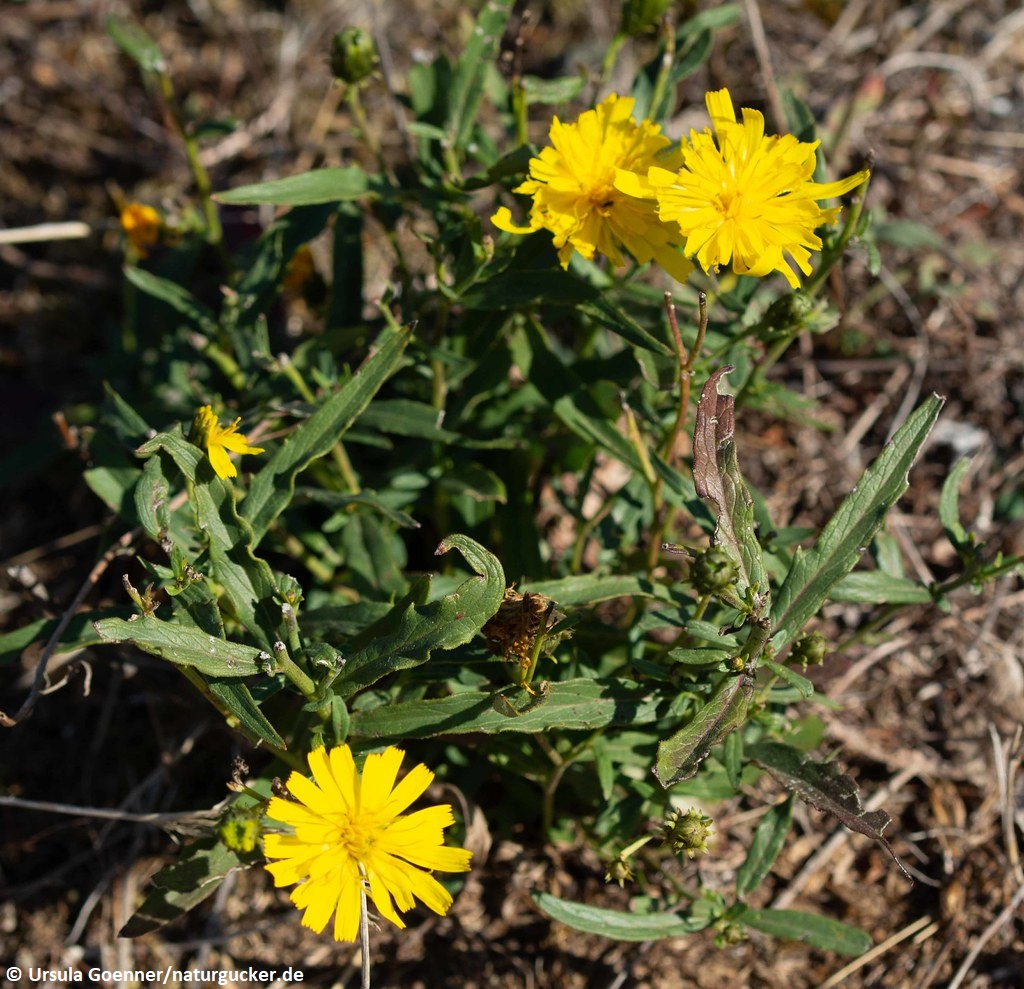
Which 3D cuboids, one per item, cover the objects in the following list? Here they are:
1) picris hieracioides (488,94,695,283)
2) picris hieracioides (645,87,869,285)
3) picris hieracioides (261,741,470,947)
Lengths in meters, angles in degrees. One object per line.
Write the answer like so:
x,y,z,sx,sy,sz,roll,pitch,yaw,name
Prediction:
0.150,-0.508,1.742,0.375,0.138,0.302,-2,82,-14,picris hieracioides
0.381,-0.482,1.690,0.295,0.103,0.312,27,74,6,picris hieracioides
-0.230,0.494,1.632,0.088,0.321,0.325,-53,54,11,picris hieracioides
